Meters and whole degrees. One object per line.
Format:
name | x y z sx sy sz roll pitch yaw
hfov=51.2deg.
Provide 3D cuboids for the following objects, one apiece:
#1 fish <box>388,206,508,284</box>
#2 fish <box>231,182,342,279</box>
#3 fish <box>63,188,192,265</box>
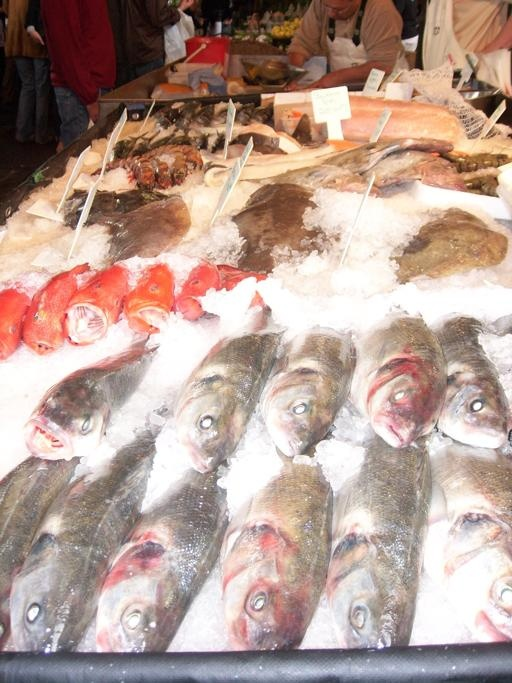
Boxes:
fish | 0.407 -0.205 1.158 0.278 0.045 0.163 -12 40 -10
fish | 0.050 -0.276 1.251 0.205 0.044 0.384 -5 39 -2
fish | -0.298 -0.315 1.338 0.241 0.047 0.486 -18 41 -16
